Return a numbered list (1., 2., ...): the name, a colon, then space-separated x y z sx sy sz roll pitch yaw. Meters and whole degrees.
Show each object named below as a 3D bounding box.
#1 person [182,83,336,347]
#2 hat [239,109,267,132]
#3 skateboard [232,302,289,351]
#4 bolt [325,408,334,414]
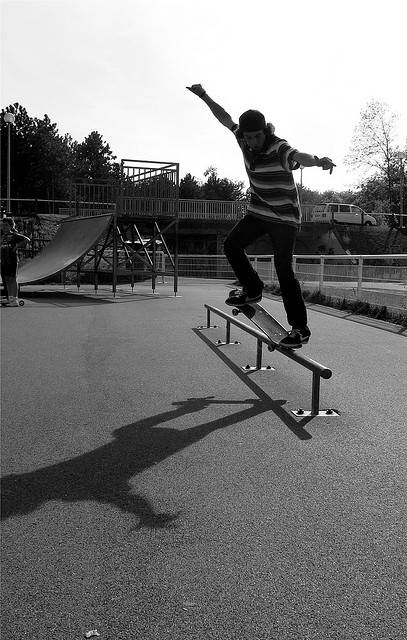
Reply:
1. person: 0.570 -0.787 4.467 0.902 2.049 1.060 1 -1 20
2. hat: 0.430 -1.726 4.176 0.242 0.180 0.155 1 0 7
3. skateboard: 0.631 0.027 4.906 0.244 0.156 1.043 -4 33 -18
4. bolt: 1.022 0.745 3.910 0.086 0.030 0.072 2 0 -15
